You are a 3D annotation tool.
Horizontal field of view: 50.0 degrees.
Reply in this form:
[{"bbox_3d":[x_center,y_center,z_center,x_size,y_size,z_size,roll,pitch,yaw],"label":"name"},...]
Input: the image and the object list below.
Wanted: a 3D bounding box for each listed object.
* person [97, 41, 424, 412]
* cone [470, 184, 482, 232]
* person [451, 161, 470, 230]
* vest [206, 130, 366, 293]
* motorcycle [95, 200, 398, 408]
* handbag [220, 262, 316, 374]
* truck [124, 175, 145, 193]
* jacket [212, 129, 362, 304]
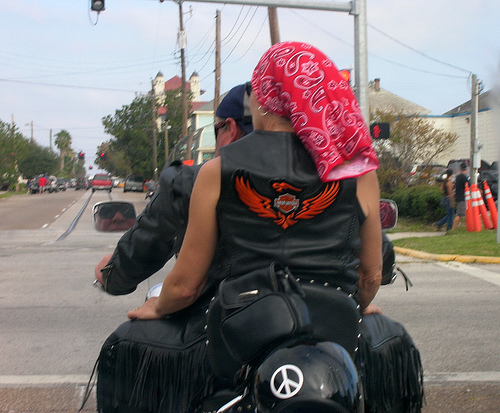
[{"bbox_3d":[-0.008,0.130,2.395,0.765,0.995,1.742,0,-1,-4],"label":"person"},{"bbox_3d":[6.300,0.059,14.810,0.324,1.333,0.705,1,0,22],"label":"cone"},{"bbox_3d":[5.995,-0.311,15.219,0.430,1.969,1.195,1,0,23],"label":"person"},{"bbox_3d":[0.164,-0.004,1.954,0.522,0.665,0.366,6,25,18],"label":"vest"},{"bbox_3d":[0.002,0.253,1.909,0.684,0.580,0.999,0,0,-24],"label":"motorcycle"},{"bbox_3d":[0.030,0.342,1.659,0.281,0.274,0.160,-28,-34,21],"label":"handbag"},{"bbox_3d":[-13.953,-2.646,64.576,1.620,1.384,2.740,0,7,-10],"label":"truck"},{"bbox_3d":[0.121,0.016,2.013,0.635,0.824,0.464,1,0,3],"label":"jacket"}]
